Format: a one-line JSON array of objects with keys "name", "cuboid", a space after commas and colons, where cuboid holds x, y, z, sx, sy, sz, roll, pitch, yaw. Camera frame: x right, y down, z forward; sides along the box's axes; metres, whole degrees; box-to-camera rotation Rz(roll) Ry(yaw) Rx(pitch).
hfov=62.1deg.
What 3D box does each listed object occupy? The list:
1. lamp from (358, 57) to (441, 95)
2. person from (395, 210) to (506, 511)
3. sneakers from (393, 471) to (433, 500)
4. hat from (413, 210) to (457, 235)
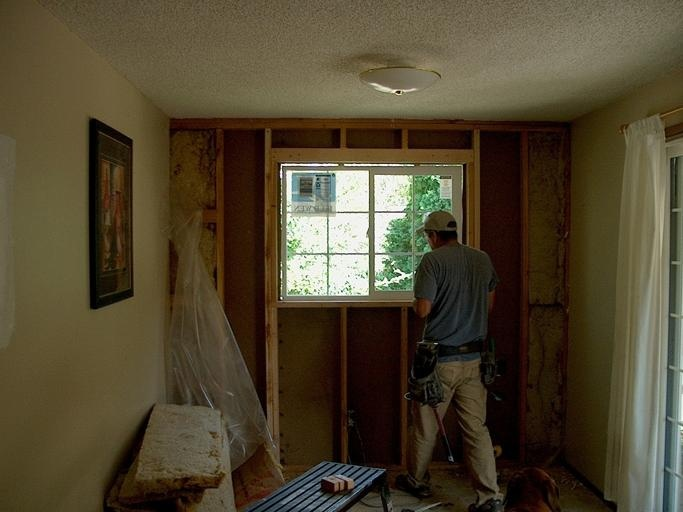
[{"name": "lamp", "cuboid": [0.373, -1.100, 3.495, 0.523, 0.120, 0.314, -1, 1, 1]}, {"name": "person", "cuboid": [0.781, 0.735, 4.035, 0.687, 2.114, 0.451, 0, 2, 7]}, {"name": "sneakers", "cuboid": [0.535, 1.729, 4.238, 0.121, 0.130, 0.293, 4, -6, -40]}, {"name": "hat", "cuboid": [0.692, -0.237, 4.132, 0.247, 0.134, 0.178, -3, 1, 28]}]
